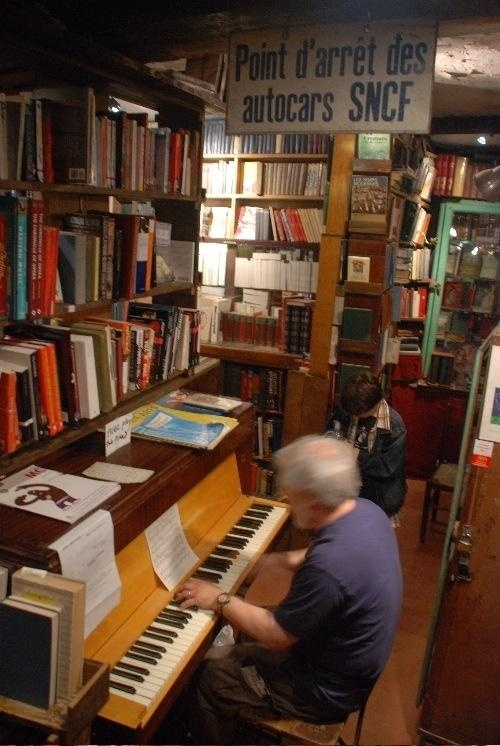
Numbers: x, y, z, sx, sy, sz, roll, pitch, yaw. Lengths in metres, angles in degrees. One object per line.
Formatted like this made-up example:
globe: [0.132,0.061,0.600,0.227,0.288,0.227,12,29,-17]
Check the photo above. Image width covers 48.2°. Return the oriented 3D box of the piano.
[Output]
piano: [-0.236,0.593,1.740,0.557,0.694,1.022,8,26,14]

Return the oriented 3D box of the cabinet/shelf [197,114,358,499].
cabinet/shelf: [0.058,-0.683,4.833,1.038,2.173,0.326,-12,36,-21]

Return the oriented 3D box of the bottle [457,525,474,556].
bottle: [0.843,0.651,2.194,0.054,0.117,0.081,11,13,22]

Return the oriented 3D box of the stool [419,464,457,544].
stool: [1.372,0.951,4.034,0.188,0.344,0.188,7,1,23]
